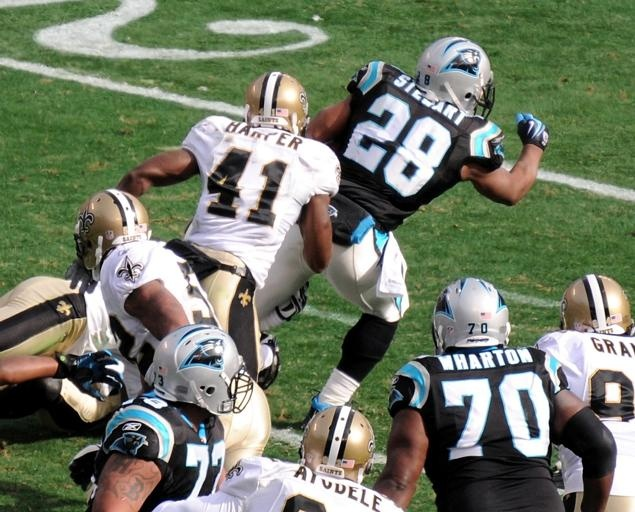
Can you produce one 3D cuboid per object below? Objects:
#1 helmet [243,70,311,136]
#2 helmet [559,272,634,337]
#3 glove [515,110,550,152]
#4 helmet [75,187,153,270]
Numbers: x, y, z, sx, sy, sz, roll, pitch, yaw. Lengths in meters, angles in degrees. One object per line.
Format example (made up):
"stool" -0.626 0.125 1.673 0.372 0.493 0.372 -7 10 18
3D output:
"helmet" -0.262 -0.974 6.590 0.334 0.395 0.458 5 67 5
"helmet" 1.848 0.314 6.536 0.344 0.418 0.473 -2 5 -2
"glove" 1.685 -0.998 7.922 0.213 0.174 0.357 -17 52 -40
"helmet" -1.316 -0.174 6.071 0.491 0.473 0.391 27 29 33
